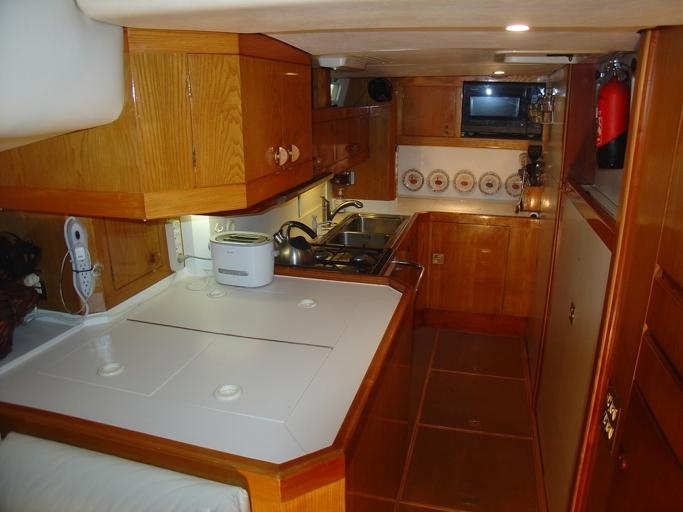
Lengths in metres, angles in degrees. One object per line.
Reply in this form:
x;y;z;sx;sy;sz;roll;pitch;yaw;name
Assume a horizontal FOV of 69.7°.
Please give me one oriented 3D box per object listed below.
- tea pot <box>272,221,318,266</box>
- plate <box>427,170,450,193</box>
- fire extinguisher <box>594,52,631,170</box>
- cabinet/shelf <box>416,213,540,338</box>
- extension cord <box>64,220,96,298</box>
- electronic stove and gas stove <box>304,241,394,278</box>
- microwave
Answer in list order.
-0.258;-0.052;2.875;0.250;0.297;0.252;13;17;-4;tea pot
0.886;-0.684;4.447;0.178;0.191;0.137;-10;18;26;plate
1.029;-0.559;1.904;0.116;0.421;0.189;6;18;16;fire extinguisher
1.155;0.150;4.187;0.902;0.944;0.560;5;10;17;cabinet/shelf
-1.112;0.011;2.090;0.088;0.358;0.071;-10;20;-29;extension cord
0.071;0.018;3.024;0.250;0.064;0.260;4;17;16;electronic stove and gas stove
1.341;-1.217;4.090;0.648;0.458;0.364;3;22;11;microwave
